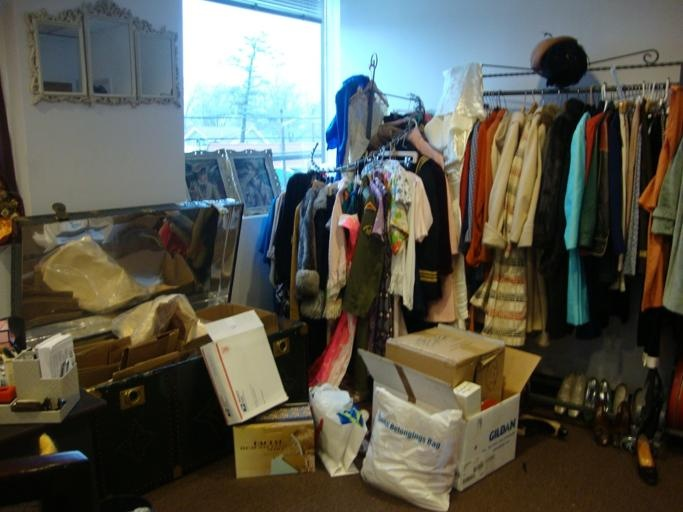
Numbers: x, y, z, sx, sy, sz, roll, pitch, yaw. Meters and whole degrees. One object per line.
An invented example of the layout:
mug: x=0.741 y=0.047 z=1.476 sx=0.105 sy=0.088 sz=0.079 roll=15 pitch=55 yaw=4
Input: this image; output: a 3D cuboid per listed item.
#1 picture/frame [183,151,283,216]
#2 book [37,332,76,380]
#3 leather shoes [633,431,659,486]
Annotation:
picture/frame: x=-0.813 y=-0.524 z=3.860 sx=0.549 sy=0.396 sz=0.041 roll=0 pitch=-19 yaw=-46
book: x=-1.096 y=0.385 z=2.053 sx=0.043 sy=0.158 sz=0.147 roll=-3 pitch=5 yaw=11
leather shoes: x=1.650 y=1.100 z=2.938 sx=0.072 sy=0.107 sz=0.277 roll=-7 pitch=26 yaw=15
